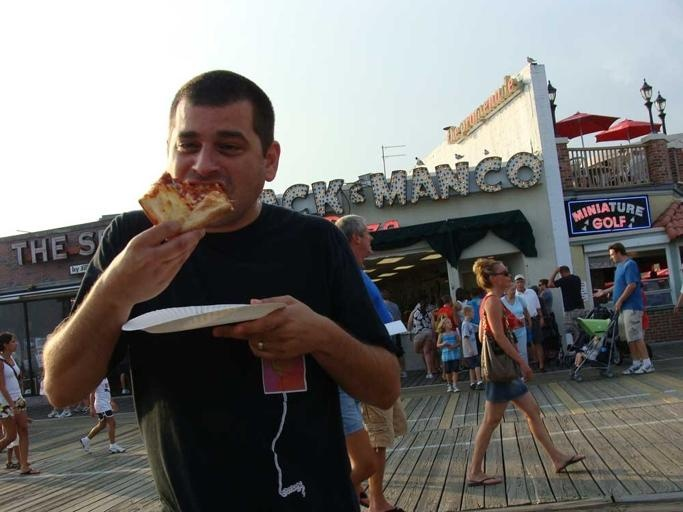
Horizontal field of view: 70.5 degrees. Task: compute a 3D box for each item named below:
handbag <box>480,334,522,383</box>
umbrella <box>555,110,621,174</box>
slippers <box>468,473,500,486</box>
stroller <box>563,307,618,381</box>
[{"bbox_3d":[1.728,1.086,5.263,0.422,0.569,0.270,-5,-3,1],"label":"handbag"},{"bbox_3d":[9.430,-4.713,19.036,2.086,2.000,2.132,-8,-12,44],"label":"umbrella"},{"bbox_3d":[1.484,2.357,5.037,0.277,0.090,0.141,-11,2,8],"label":"slippers"},{"bbox_3d":[5.362,1.829,10.398,0.930,1.813,1.074,1,6,-11],"label":"stroller"}]
